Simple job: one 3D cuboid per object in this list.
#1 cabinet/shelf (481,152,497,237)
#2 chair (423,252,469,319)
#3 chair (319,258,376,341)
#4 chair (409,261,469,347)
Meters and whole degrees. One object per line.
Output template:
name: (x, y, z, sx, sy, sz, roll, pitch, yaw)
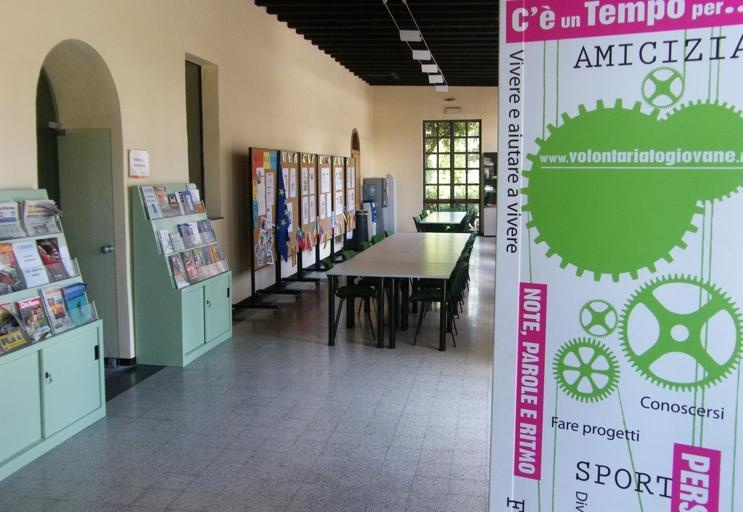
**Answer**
cabinet/shelf: (3.767, -1.961, 16.995, 0.494, 2.746, 0.545, 0, -2, 23)
chair: (0.933, 0.435, 7.189, 0.679, 0.957, 0.669, -1, 20, -4)
chair: (-0.275, 0.560, 7.238, 0.894, 1.348, 0.920, 0, 6, 8)
chair: (0.900, 0.542, 7.161, 0.867, 1.154, 0.872, 8, 16, 30)
